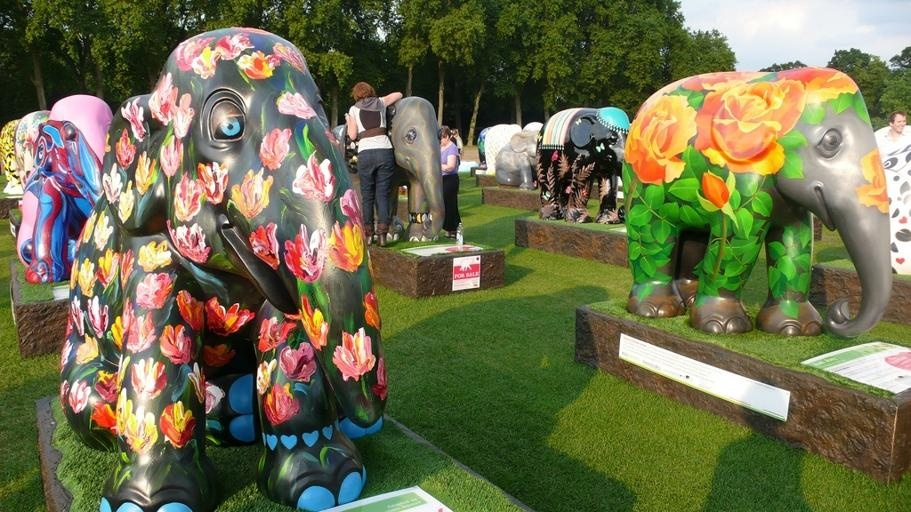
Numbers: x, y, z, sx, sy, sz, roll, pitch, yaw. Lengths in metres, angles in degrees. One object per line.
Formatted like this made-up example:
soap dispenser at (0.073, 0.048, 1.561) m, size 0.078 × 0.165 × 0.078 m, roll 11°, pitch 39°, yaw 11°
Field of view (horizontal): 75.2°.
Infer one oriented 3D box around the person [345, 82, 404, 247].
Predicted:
person at (-0.955, -1.094, 7.036) m, size 0.626 × 1.892 × 0.776 m, roll -4°, pitch 11°, yaw -10°

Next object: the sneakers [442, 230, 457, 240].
sneakers at (-0.083, -0.286, 8.100) m, size 0.102 × 0.091 × 0.207 m, roll -4°, pitch 6°, yaw -37°
